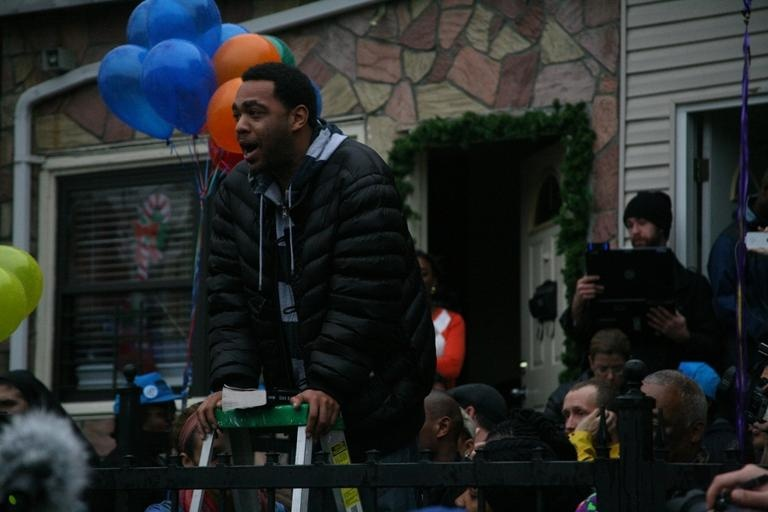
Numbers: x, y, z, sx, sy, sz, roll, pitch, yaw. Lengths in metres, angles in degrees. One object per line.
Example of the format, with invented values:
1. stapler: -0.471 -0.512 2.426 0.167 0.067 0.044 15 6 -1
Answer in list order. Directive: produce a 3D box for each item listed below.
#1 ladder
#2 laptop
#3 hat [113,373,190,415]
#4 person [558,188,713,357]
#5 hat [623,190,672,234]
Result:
1. ladder: -0.745 1.290 12.397 1.097 0.870 0.881 -9 -24 20
2. laptop: 2.065 0.207 14.426 0.800 0.500 0.540 0 -1 14
3. hat: -2.015 1.154 15.192 0.725 0.268 0.492 -12 -1 7
4. person: 2.215 0.155 15.003 1.212 1.556 0.929 -12 -24 40
5. hat: 2.307 -0.428 15.167 0.437 0.368 0.324 -5 -25 11
